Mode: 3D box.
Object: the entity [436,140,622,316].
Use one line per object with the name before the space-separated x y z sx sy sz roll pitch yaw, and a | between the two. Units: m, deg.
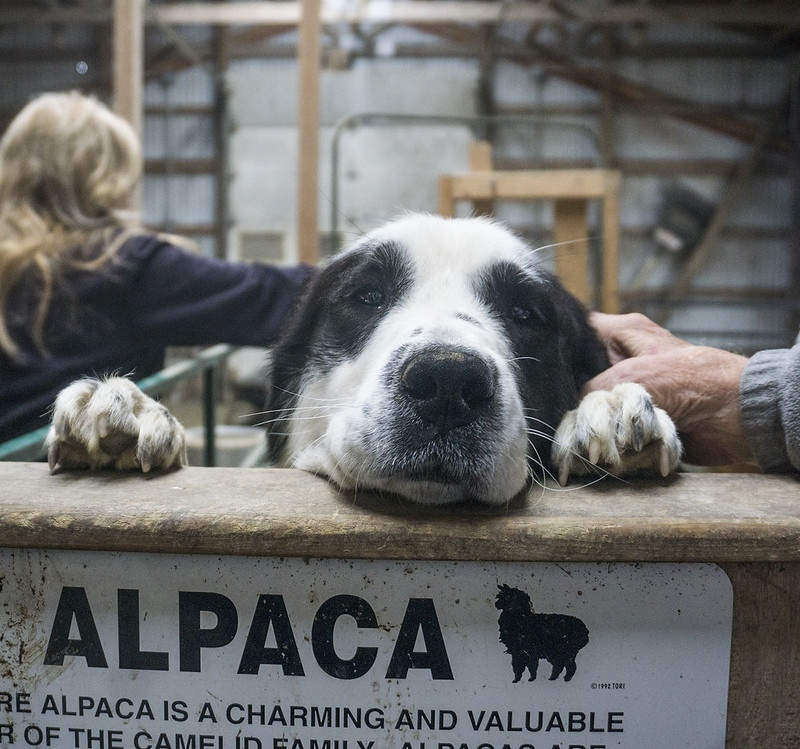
entity | 0.531 -0.595 8.761 0.633 0.718 0.645 -2 4 -22
